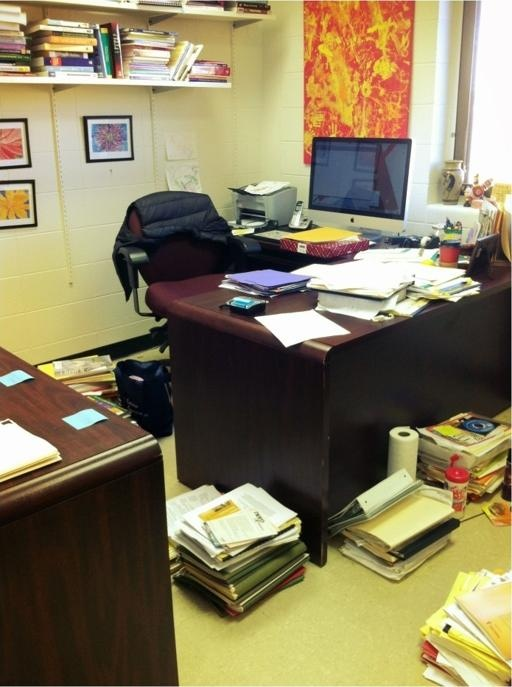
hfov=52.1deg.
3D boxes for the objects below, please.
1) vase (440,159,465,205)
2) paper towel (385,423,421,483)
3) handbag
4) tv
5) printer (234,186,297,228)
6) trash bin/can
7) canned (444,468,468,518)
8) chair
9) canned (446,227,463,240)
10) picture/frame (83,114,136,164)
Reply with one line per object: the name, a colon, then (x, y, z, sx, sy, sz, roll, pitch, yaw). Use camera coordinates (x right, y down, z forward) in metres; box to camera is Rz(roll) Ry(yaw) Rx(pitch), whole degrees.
vase: (1.168, -0.945, 3.098, 0.146, 0.235, 0.144, 14, 26, 35)
paper towel: (0.532, 0.400, 1.899, 0.099, 0.189, 0.100, -1, 20, -22)
handbag: (-0.503, 0.213, 2.603, 0.431, 0.333, 0.404, -3, 17, -7)
tv: (0.592, -0.950, 3.065, 0.067, 0.501, 0.726, -22, 31, -36)
printer: (0.059, -0.951, 3.628, 0.398, 0.311, 0.414, -11, 21, -34)
trash bin/can: (-0.557, 0.259, 2.557, 0.350, 0.330, 0.201, 14, 29, 33)
canned: (0.700, 0.537, 1.859, 0.082, 0.134, 0.079, 5, -10, -11)
chair: (-0.379, -0.352, 2.995, 0.810, 0.885, 0.716, -7, 25, -16)
canned: (0.890, -0.492, 2.356, 0.069, 0.067, 0.072, -7, 15, -21)
picture/frame: (-0.896, -1.231, 3.165, 0.329, 0.267, 0.023, -19, 24, -41)
